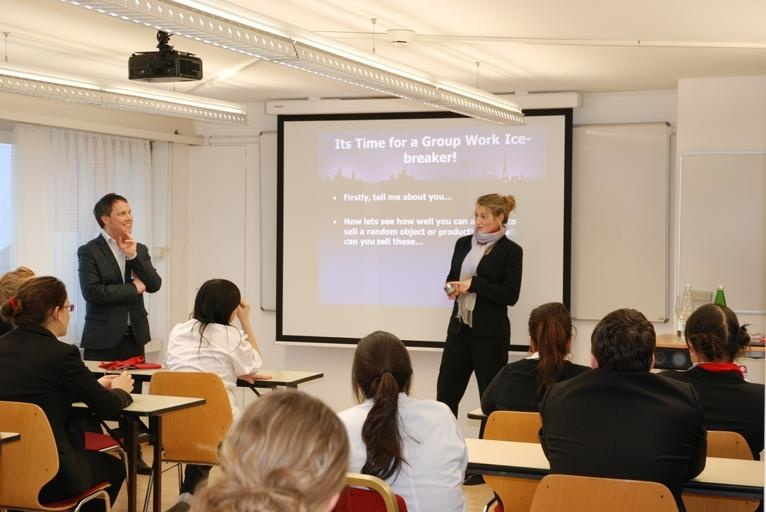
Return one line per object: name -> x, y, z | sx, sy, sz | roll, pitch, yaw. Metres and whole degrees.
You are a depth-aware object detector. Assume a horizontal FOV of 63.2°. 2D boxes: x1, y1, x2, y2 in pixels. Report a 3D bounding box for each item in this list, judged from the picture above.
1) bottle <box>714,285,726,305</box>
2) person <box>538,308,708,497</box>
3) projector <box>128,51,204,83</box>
bottle -> 2.874, 0.348, 5.286 | 0.095, 0.159, 0.608 | 3, 5, 29
person -> 1.056, 0.673, 2.742 | 0.686, 0.798, 0.294 | 2, 5, 14
projector -> -1.573, -1.349, 4.443 | 0.554, 0.195, 0.200 | 2, 5, 15
